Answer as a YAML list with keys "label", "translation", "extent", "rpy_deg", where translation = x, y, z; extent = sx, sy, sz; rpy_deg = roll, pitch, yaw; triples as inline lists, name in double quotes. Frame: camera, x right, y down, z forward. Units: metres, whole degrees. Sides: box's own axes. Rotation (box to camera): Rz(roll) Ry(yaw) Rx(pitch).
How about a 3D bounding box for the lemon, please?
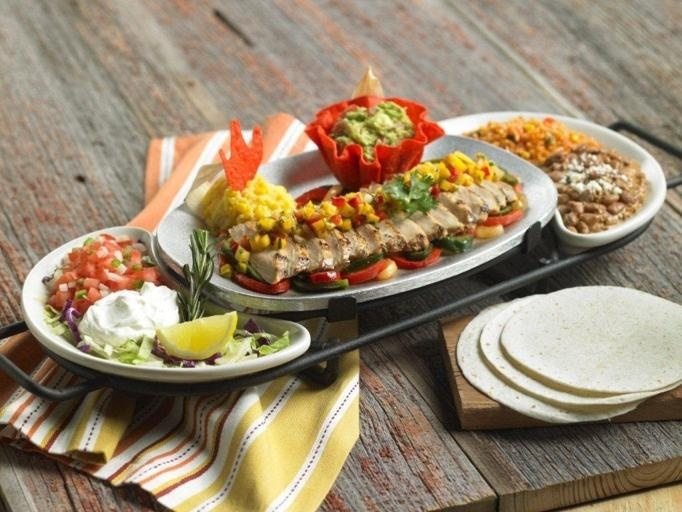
- label: "lemon"
  translation: [-0.458, 0.250, 2.042]
  extent: [0.073, 0.312, 0.142]
  rpy_deg: [27, 100, 31]
